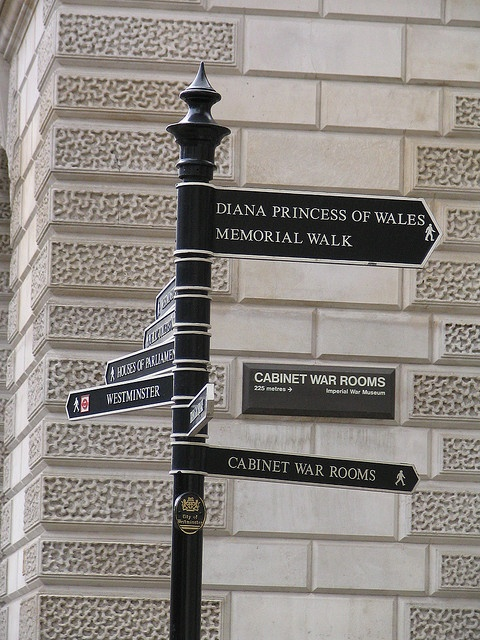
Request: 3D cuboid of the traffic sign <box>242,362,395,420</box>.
[{"bbox_3d":[0.455,0.427,13.680,0.890,0.379,0.083,17,-2,-7],"label":"traffic sign"}]
